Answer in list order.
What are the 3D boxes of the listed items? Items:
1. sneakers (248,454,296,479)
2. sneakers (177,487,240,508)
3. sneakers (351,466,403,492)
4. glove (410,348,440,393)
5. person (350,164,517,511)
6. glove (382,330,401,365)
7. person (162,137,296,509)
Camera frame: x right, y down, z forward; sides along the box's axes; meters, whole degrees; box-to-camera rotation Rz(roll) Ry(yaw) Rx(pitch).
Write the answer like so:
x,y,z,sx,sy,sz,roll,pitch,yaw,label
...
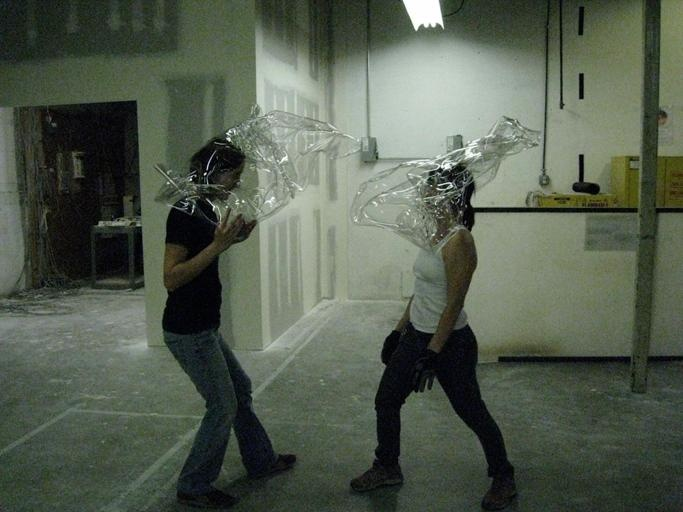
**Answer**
x,y,z,sx,sy,sz,roll,pitch,yaw,label
-0.439,1.309,4.060,0.305,0.121,0.111,-12,10,-27,sneakers
-0.786,1.441,3.752,0.345,0.146,0.130,0,-1,-3,sneakers
0.216,1.363,3.952,0.335,0.146,0.132,-2,4,-8,sneakers
0.467,0.640,3.583,0.139,0.242,0.085,33,-21,-6,glove
0.556,0.489,3.666,0.933,1.993,0.536,2,13,15,person
0.297,0.569,3.928,0.051,0.193,0.143,16,15,-5,glove
-0.731,0.402,3.719,0.634,2.137,0.399,-6,13,-18,person
